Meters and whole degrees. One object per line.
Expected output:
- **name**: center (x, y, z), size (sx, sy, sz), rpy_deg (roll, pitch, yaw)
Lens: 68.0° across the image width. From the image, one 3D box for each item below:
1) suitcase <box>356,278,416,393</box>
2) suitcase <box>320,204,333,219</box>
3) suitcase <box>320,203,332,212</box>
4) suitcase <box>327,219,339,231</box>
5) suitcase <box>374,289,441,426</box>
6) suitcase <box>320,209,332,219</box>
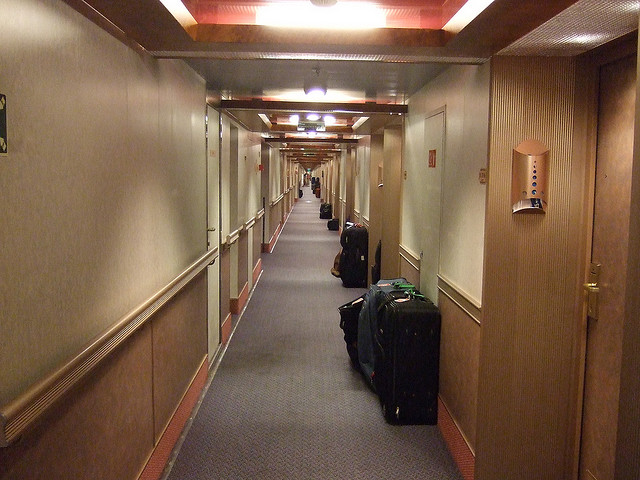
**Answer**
- **suitcase**: center (0.679, 0.985, 5.147), size (0.464, 1.165, 0.686), rpy_deg (-2, 6, 2)
- **suitcase**: center (0.252, -1.230, 21.328), size (0.620, 1.068, 0.507), rpy_deg (0, -4, 0)
- **suitcase**: center (0.243, -1.489, 21.418), size (0.369, 0.500, 0.322), rpy_deg (2, 4, 1)
- **suitcase**: center (0.475, -0.538, 17.228), size (0.321, 0.403, 0.365), rpy_deg (-4, 7, -13)
- **suitcase**: center (0.793, 1.072, 4.360), size (0.485, 1.084, 0.491), rpy_deg (0, 7, -7)
- **suitcase**: center (0.247, -1.235, 21.253), size (0.519, 0.641, 0.329), rpy_deg (0, 3, 5)
